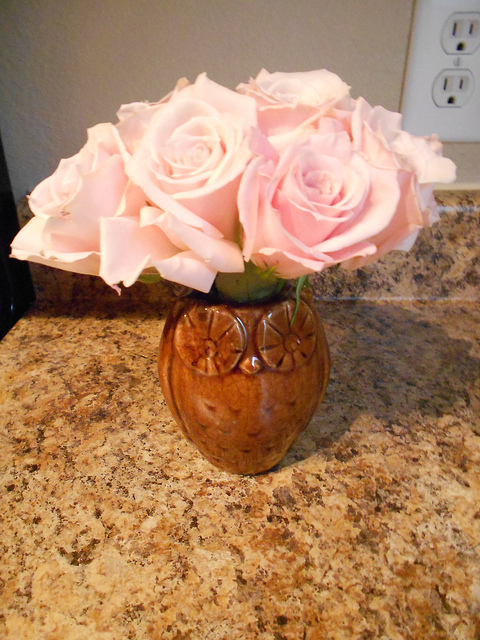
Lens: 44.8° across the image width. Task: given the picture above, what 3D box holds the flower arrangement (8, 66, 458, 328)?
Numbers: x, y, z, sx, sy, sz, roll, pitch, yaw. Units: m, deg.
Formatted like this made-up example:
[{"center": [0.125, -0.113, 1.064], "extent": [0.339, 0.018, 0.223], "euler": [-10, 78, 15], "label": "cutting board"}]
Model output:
[{"center": [0.009, -0.090, 0.389], "extent": [0.240, 0.163, 0.212], "euler": [2, 50, 7], "label": "flower arrangement"}]

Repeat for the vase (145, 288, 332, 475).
[{"center": [0.005, 0.056, 0.590], "extent": [0.184, 0.168, 0.169], "euler": [-2, 14, -4], "label": "vase"}]
